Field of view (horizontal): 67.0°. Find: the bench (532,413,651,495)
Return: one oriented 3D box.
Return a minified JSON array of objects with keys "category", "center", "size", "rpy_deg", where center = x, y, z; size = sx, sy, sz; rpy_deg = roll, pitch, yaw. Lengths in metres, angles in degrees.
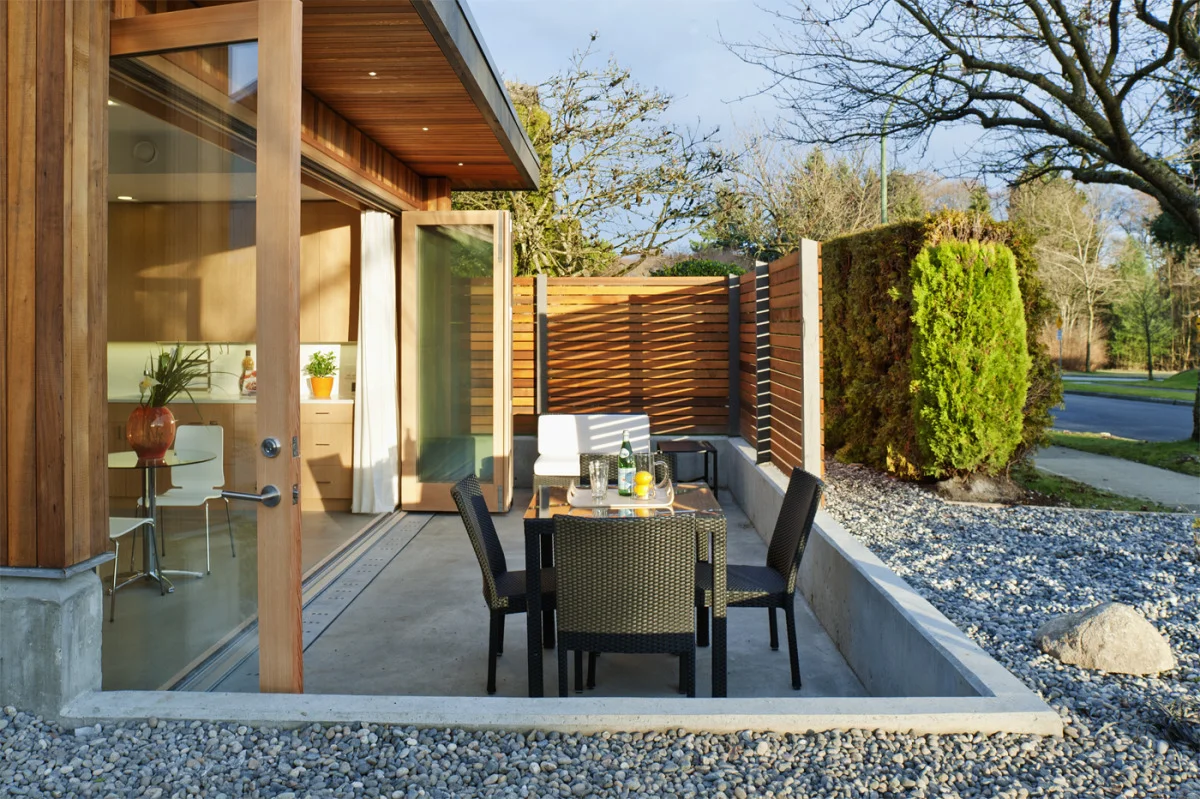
[{"category":"bench","center":[-0.083,0.662,9.992],"size":[1.286,0.981,0.713],"rpy_deg":[1,10,0]}]

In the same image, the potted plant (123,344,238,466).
[{"category":"potted plant","center":[-2.375,0.035,4.895],"size":[0.522,0.602,0.331],"rpy_deg":[-7,-6,23]}]

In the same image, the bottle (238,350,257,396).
[{"category":"bottle","center":[-1.836,-0.147,4.719],"size":[0.060,0.226,0.256],"rpy_deg":[-7,13,-34]}]

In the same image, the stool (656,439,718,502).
[{"category":"stool","center":[0.996,0.720,10.353],"size":[0.713,0.792,0.769],"rpy_deg":[0,4,2]}]

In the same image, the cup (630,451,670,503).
[{"category":"cup","center":[0.310,0.487,5.839],"size":[0.258,0.292,0.164],"rpy_deg":[0,1,1]}]

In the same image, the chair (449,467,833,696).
[{"category":"chair","center":[0.248,1.056,5.524],"size":[2.073,1.242,0.845],"rpy_deg":[0,10,3]}]

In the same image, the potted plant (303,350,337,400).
[{"category":"potted plant","center":[-2.958,-0.268,9.613],"size":[0.370,0.655,0.430],"rpy_deg":[0,-5,-5]}]

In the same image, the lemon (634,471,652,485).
[{"category":"lemon","center":[0.271,0.490,5.728],"size":[0.070,0.080,0.075],"rpy_deg":[0,3,10]}]

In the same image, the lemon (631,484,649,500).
[{"category":"lemon","center":[0.262,0.576,5.692],"size":[0.078,0.096,0.084],"rpy_deg":[-1,-1,7]}]
